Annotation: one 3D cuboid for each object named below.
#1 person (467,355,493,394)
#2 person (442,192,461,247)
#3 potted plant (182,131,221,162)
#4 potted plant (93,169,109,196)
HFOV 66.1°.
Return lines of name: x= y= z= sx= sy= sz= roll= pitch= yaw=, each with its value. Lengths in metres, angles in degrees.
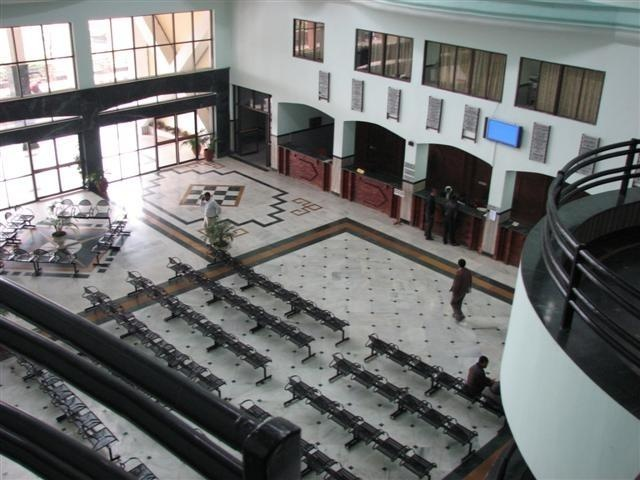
person: x=3.768 y=3.212 z=11.634 sx=0.494 sy=0.955 sz=0.524 roll=21 pitch=33 yaw=33
person: x=4.739 y=-0.728 z=17.770 sx=0.637 sy=1.849 sz=0.654 roll=8 pitch=29 yaw=13
potted plant: x=-5.898 y=-4.607 z=24.572 sx=1.765 sy=0.872 sz=1.521 roll=-3 pitch=11 yaw=-16
potted plant: x=-9.225 y=-2.363 z=20.791 sx=0.522 sy=0.895 sz=0.927 roll=-12 pitch=28 yaw=-23
